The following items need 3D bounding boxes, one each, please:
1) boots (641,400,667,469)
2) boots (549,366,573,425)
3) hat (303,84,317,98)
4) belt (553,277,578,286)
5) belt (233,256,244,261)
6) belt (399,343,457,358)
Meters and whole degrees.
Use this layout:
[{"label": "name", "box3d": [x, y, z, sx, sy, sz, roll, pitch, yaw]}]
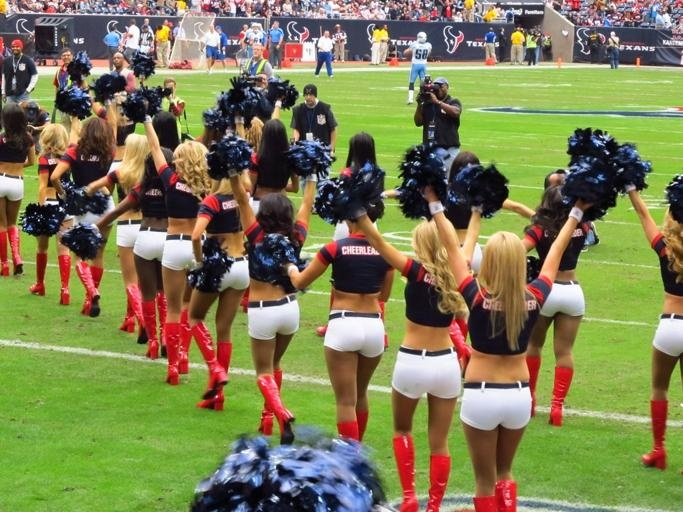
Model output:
[{"label": "boots", "box3d": [2.638, 1.472, 7.287, 0.197, 0.571, 0.218, 4, 9, 22]}, {"label": "boots", "box3d": [2.023, 1.253, 8.026, 0.172, 0.544, 0.365, 3, 8, 15]}, {"label": "hat", "box3d": [-0.483, -2.568, 13.497, 0.185, 0.205, 0.245, 1, 7, -2]}, {"label": "belt", "box3d": [2.023, 0.233, 7.844, 0.243, 0.053, 0.079, -2, 9, -23]}, {"label": "belt", "box3d": [-0.938, 0.023, 8.015, 0.109, 0.031, 0.097, -1, 9, -13]}, {"label": "belt", "box3d": [0.645, 0.705, 6.455, 0.411, 0.055, 0.107, 1, 9, -2]}]
